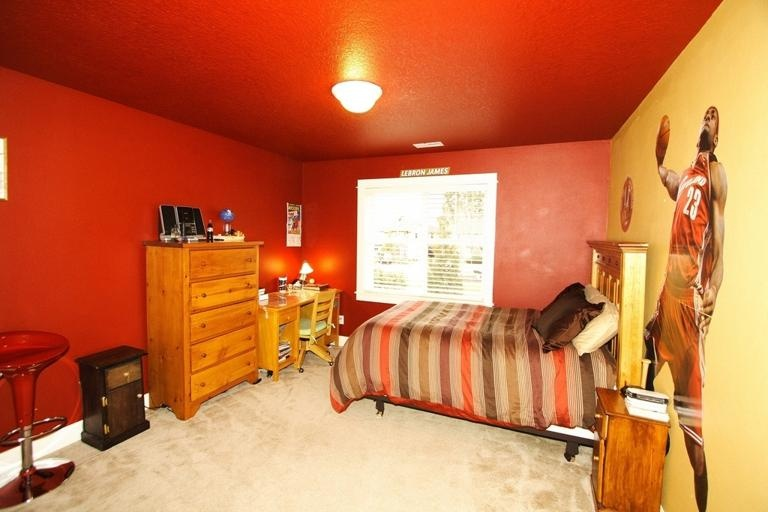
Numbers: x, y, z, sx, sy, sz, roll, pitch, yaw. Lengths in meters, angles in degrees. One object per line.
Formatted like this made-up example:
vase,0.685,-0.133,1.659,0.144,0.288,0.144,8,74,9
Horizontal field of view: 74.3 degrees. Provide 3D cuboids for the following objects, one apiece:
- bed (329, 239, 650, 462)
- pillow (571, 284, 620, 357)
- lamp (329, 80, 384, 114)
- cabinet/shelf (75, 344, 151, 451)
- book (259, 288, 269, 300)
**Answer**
bed,1.249,0.777,5.748,2.806,1.761,2.078,0,4,20
pillow,1.920,0.632,4.839,0.161,0.518,0.548,32,13,-6
lamp,-0.255,-1.530,4.912,0.494,0.231,0.471,-2,3,-10
cabinet/shelf,-2.743,1.434,5.159,0.395,0.905,0.551,3,5,43
book,-1.589,0.516,6.738,0.130,0.127,0.182,-1,5,-4
